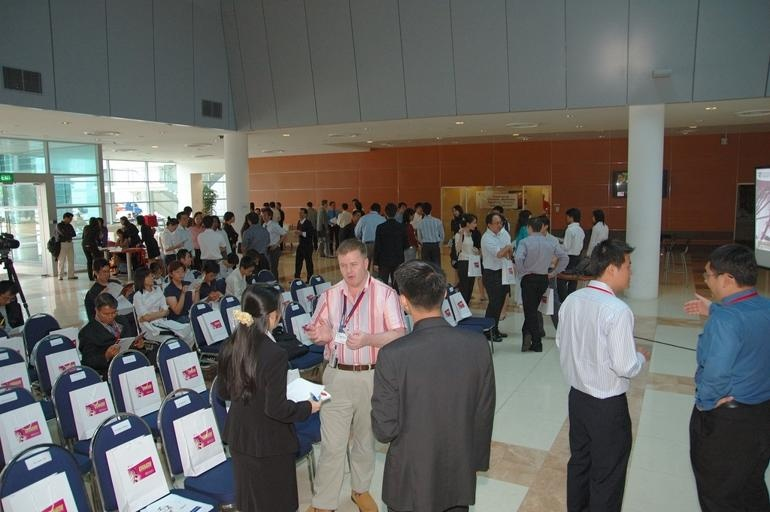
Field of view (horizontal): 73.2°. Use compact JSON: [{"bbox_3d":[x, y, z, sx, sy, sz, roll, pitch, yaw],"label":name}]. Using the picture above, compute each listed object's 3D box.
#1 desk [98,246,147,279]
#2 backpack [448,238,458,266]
[{"bbox_3d":[-6.659,0.141,13.177,0.910,0.466,0.508,1,3,33],"label":"desk"},{"bbox_3d":[1.474,-0.118,11.165,0.171,0.504,0.364,-2,17,15],"label":"backpack"}]
